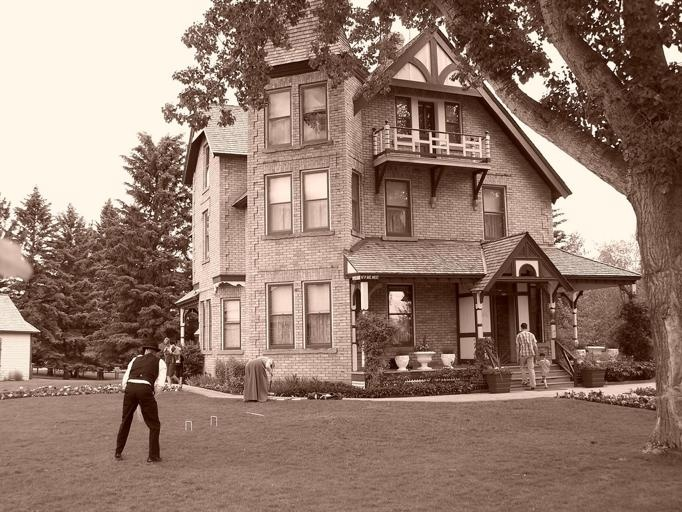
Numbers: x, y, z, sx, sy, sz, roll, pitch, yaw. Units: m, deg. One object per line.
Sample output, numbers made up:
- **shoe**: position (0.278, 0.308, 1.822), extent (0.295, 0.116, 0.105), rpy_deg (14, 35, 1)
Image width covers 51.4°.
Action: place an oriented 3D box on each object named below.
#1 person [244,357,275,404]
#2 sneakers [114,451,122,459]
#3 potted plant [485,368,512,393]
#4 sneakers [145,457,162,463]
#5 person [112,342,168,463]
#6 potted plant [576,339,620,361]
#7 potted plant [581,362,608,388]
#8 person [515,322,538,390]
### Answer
- **person**: position (-2.644, 4.074, 23.542), extent (1.228, 1.750, 1.185), rpy_deg (1, -2, 19)
- **sneakers**: position (-4.565, 4.079, 14.550), extent (0.126, 0.137, 0.133), rpy_deg (-5, -7, 33)
- **potted plant**: position (5.390, 4.269, 24.353), extent (0.833, 0.753, 0.738), rpy_deg (3, -10, -18)
- **sneakers**: position (-3.746, 4.095, 14.222), extent (0.221, 0.113, 0.111), rpy_deg (1, -1, -17)
- **person**: position (-4.185, 3.007, 14.783), extent (1.048, 2.302, 1.380), rpy_deg (-1, -1, -17)
- **potted plant**: position (12.532, 4.559, 34.668), extent (2.588, 0.933, 1.114), rpy_deg (3, -7, -29)
- **potted plant**: position (9.154, 4.316, 25.595), extent (0.876, 0.828, 0.700), rpy_deg (3, -9, -18)
- **person**: position (6.604, 3.506, 25.048), extent (0.649, 1.611, 1.507), rpy_deg (-1, -2, 15)
